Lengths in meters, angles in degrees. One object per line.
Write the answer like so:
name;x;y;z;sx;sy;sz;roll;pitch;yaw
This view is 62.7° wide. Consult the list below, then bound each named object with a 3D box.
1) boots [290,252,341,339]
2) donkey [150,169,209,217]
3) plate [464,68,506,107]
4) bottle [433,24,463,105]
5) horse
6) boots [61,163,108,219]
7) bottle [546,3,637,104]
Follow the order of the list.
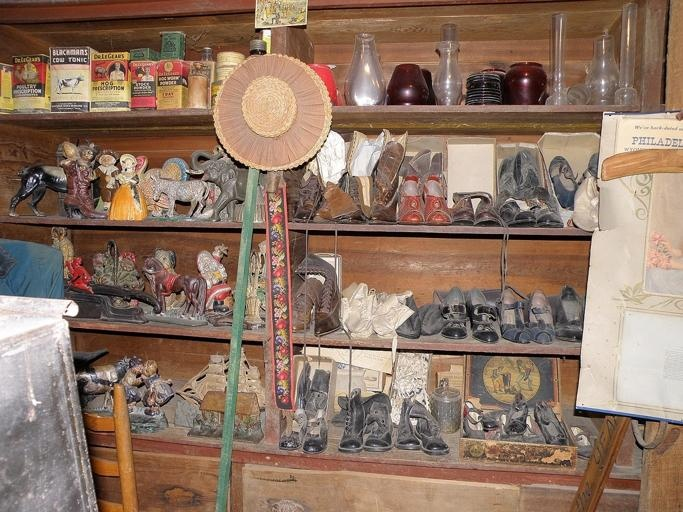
boots;-0.100;0.170;2.503;0.207;0.329;0.237;1;5;13
donkey;-0.744;-0.293;2.611;0.220;0.181;0.268;3;14;8
plate;0.596;-0.698;2.420;0.176;0.143;0.174;0;0;-14
bottle;0.467;-0.819;2.449;0.121;0.385;0.373;1;5;12
horse;-0.778;0.146;2.626;0.414;0.248;0.091;4;-1;28
boots;-1.203;-0.310;2.702;0.191;0.276;0.172;4;16;2
bottle;1.022;-0.828;2.443;0.450;0.385;0.371;1;4;13
